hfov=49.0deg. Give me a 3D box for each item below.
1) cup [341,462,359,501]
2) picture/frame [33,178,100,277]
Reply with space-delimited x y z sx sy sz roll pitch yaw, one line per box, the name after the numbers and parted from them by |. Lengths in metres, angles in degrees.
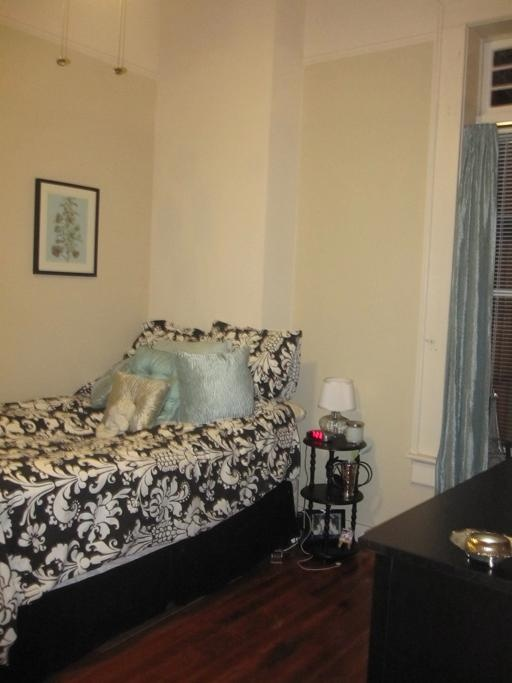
0.473 0.706 2.844 0.077 0.196 0.070 2 2 20 | cup
-1.109 -0.665 3.238 0.044 0.715 0.580 3 5 33 | picture/frame
